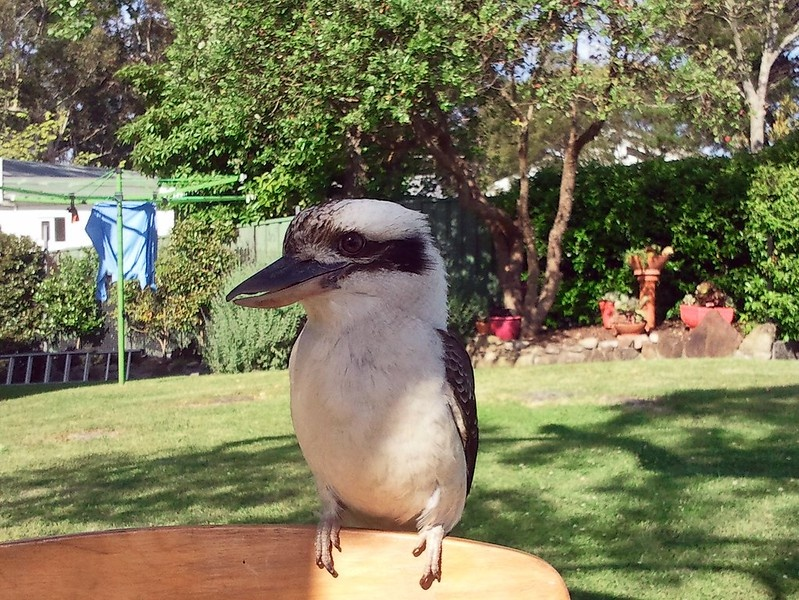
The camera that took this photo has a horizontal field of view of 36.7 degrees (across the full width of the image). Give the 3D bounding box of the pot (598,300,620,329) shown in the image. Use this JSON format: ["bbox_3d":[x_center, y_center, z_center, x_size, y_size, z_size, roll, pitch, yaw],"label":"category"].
[{"bbox_3d":[4.025,0.274,23.317,0.146,0.468,0.468,-3,-16,-19],"label":"pot"}]

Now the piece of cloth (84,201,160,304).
[{"bbox_3d":[-5.202,-0.941,22.726,1.262,1.891,0.853,1,1,30],"label":"piece of cloth"}]

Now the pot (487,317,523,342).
[{"bbox_3d":[2.037,0.532,22.873,0.611,0.437,0.520,1,1,-2],"label":"pot"}]

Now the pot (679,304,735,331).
[{"bbox_3d":[5.701,0.268,22.405,0.568,0.407,0.594,2,2,0],"label":"pot"}]

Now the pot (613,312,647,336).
[{"bbox_3d":[4.316,0.453,22.643,0.626,0.394,0.643,1,0,0],"label":"pot"}]

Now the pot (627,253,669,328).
[{"bbox_3d":[4.759,-0.202,22.987,0.772,1.588,0.519,1,1,11],"label":"pot"}]
